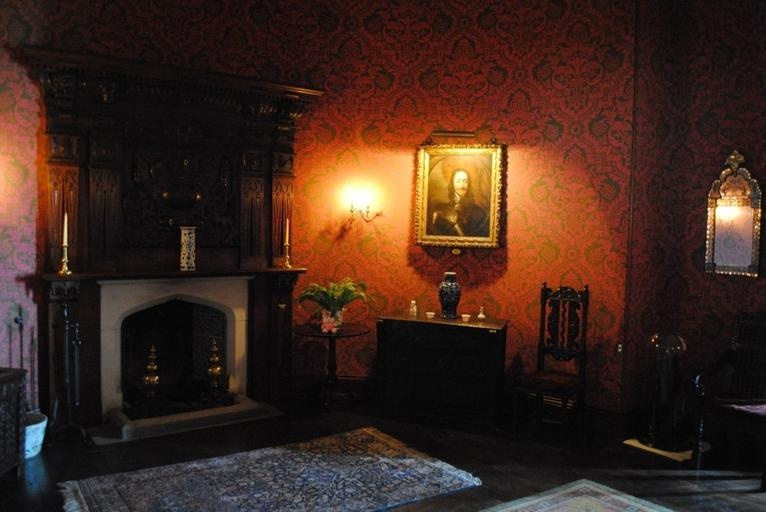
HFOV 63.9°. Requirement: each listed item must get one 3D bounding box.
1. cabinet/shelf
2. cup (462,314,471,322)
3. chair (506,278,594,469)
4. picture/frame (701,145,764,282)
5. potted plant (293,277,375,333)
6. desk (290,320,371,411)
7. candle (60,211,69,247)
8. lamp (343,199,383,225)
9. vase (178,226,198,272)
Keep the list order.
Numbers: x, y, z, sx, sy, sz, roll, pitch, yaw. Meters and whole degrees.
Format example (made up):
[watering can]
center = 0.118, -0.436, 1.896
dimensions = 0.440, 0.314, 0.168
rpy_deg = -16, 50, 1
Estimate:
[cabinet/shelf]
center = 0.723, 1.420, 7.368
dimensions = 1.523, 1.178, 0.610
rpy_deg = 1, -2, 20
[cup]
center = 1.010, 0.757, 7.462
dimensions = 0.088, 0.048, 0.083
rpy_deg = 0, -2, 0
[chair]
center = 2.017, 1.192, 7.015
dimensions = 0.937, 1.683, 1.103
rpy_deg = 6, 14, 20
[picture/frame]
center = 3.875, -0.468, 6.729
dimensions = 0.595, 1.334, 0.269
rpy_deg = 9, 16, 30
[potted plant]
center = -0.585, 0.588, 7.659
dimensions = 0.760, 0.482, 0.730
rpy_deg = 0, 0, 18
[desk]
center = -0.639, 1.304, 7.732
dimensions = 0.890, 1.097, 0.732
rpy_deg = 0, 13, -7
[candle]
center = -3.415, -0.282, 6.629
dimensions = 0.091, 0.352, 0.248
rpy_deg = -5, 15, -26
[lamp]
center = -0.235, -0.562, 7.965
dimensions = 0.417, 0.170, 0.270
rpy_deg = 9, -5, -41
[vase]
center = -2.270, -0.087, 7.188
dimensions = 0.215, 0.506, 0.293
rpy_deg = -3, 14, -16
